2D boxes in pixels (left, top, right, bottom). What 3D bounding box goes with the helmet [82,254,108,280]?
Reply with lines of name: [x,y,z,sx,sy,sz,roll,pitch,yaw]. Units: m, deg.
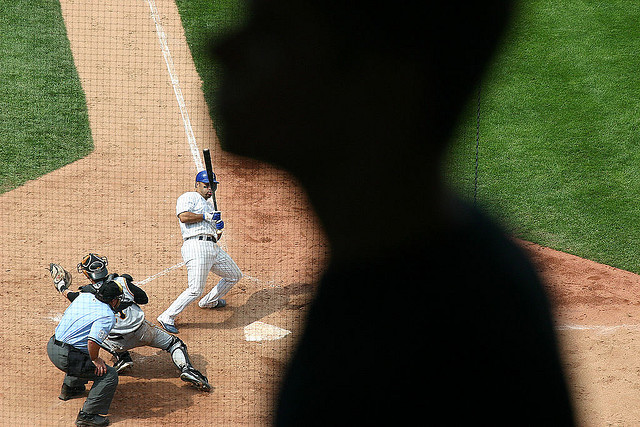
helmet: [-3.740,0.906,16.854,0.380,0.280,0.411,-9,35,-13]

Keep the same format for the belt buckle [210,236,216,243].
belt buckle: [-1.908,0.488,18.166,0.061,0.132,0.102,31,47,31]
